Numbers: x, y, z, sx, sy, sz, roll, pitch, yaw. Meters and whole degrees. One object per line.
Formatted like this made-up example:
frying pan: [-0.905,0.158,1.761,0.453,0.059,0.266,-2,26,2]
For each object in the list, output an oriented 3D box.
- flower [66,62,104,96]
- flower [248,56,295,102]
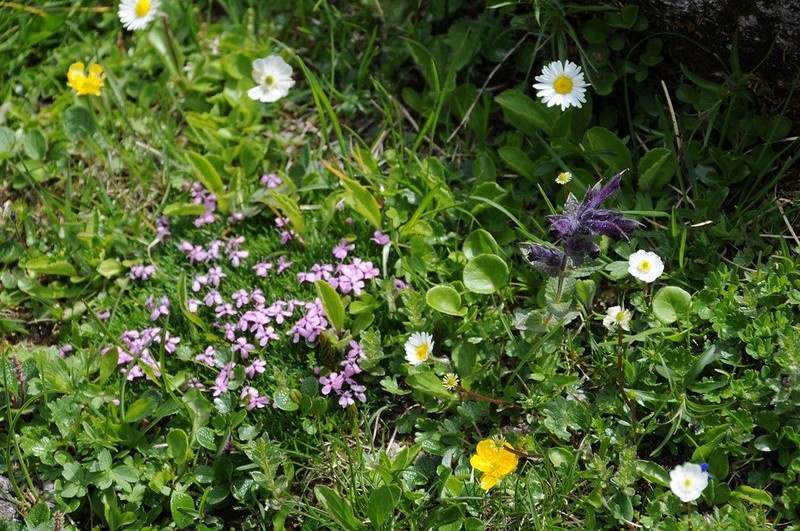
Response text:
flower: [-1.674,-0.974,3.951,0.228,0.226,0.104,-18,91,36]
flower: [-0.674,-0.971,3.849,0.220,0.127,0.235,14,65,6]
